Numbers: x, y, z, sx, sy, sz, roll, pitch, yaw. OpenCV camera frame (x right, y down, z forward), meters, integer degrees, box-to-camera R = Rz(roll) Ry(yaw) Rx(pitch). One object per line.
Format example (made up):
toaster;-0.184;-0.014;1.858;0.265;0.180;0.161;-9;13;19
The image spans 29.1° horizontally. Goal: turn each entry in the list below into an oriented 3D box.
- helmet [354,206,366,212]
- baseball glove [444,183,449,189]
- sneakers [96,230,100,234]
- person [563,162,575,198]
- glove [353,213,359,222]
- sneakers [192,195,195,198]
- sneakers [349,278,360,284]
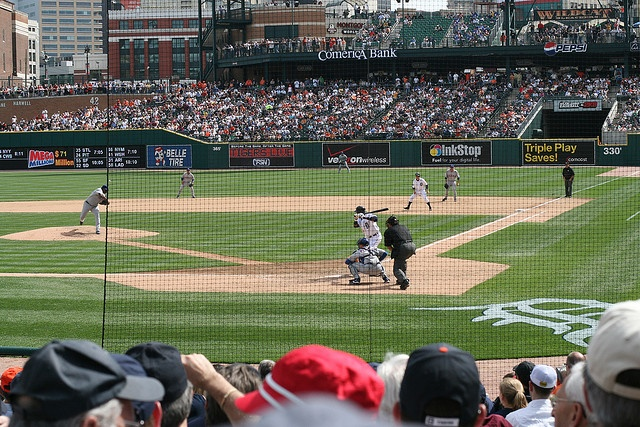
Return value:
helmet;2.352;-0.134;73.045;0.354;0.424;0.397;5;-2;-11
baseball glove;8.868;-1.812;86.607;0.326;0.447;0.766;1;7;4
sneakers;-14.329;1.294;78.865;0.236;0.147;0.284;-1;7;-9
person;17.248;-2.116;85.819;0.664;2.254;0.938;1;7;10
glove;2.115;0.344;72.989;0.287;0.354;0.138;0;-3;14
sneakers;-9.121;-1.099;87.653;0.130;0.171;0.045;3;-2;16
sneakers;1.968;3.987;71.812;0.586;0.226;0.276;5;4;5
